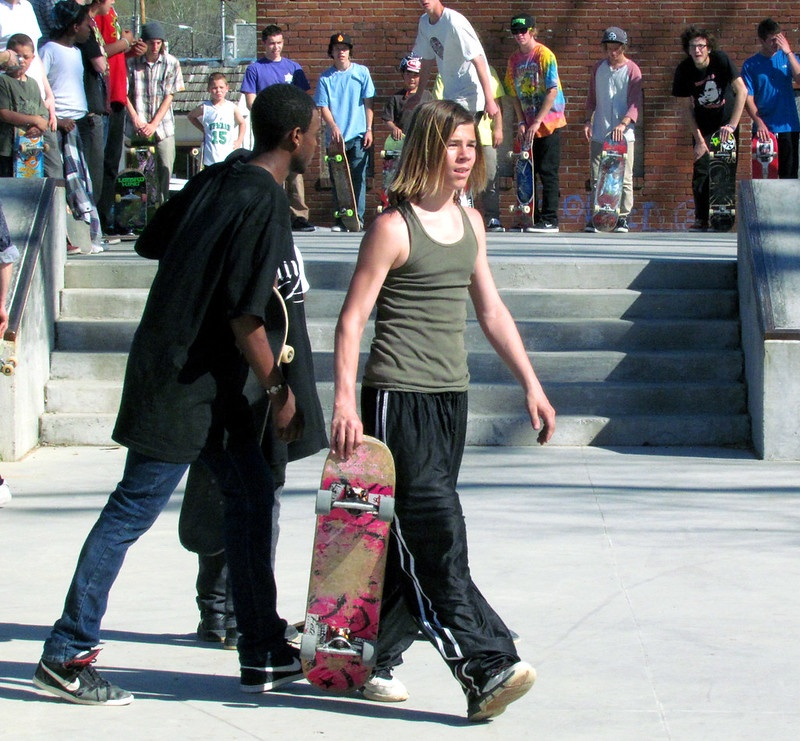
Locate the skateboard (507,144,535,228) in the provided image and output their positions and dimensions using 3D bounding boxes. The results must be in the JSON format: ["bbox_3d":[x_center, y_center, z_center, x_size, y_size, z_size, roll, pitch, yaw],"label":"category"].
[{"bbox_3d":[1.176,-1.757,14.299,0.195,0.761,0.117,9,19,40],"label":"skateboard"}]

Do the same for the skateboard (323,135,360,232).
[{"bbox_3d":[-0.560,-1.791,14.418,0.237,0.938,0.168,6,30,36],"label":"skateboard"}]

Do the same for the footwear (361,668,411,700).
[{"bbox_3d":[-0.069,1.252,6.001,0.192,0.109,0.094,0,5,5],"label":"footwear"}]

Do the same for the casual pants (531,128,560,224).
[{"bbox_3d":[1.382,-1.837,14.062,0.260,0.971,0.161,9,22,36],"label":"casual pants"}]

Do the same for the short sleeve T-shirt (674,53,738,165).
[{"bbox_3d":[2.813,-2.560,13.951,0.570,0.815,0.437,2,14,9],"label":"short sleeve T-shirt"}]

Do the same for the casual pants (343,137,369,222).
[{"bbox_3d":[-0.459,-1.889,14.778,0.181,0.824,0.147,-2,1,15],"label":"casual pants"}]

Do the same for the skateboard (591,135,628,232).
[{"bbox_3d":[1.967,-1.780,14.391,0.228,0.787,0.121,10,25,21],"label":"skateboard"}]

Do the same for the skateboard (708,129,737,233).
[{"bbox_3d":[3.080,-1.748,14.442,0.264,0.150,1.019,-1,53,5],"label":"skateboard"}]

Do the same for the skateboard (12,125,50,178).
[{"bbox_3d":[-2.869,-1.705,11.751,0.120,0.299,0.421,14,11,-21],"label":"skateboard"}]

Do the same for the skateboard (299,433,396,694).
[{"bbox_3d":[-0.214,0.772,5.835,0.368,1.031,0.243,-1,13,0],"label":"skateboard"}]

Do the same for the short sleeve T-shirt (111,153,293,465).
[{"bbox_3d":[-0.799,-0.239,5.889,0.728,1.162,0.461,-2,13,-5],"label":"short sleeve T-shirt"}]
